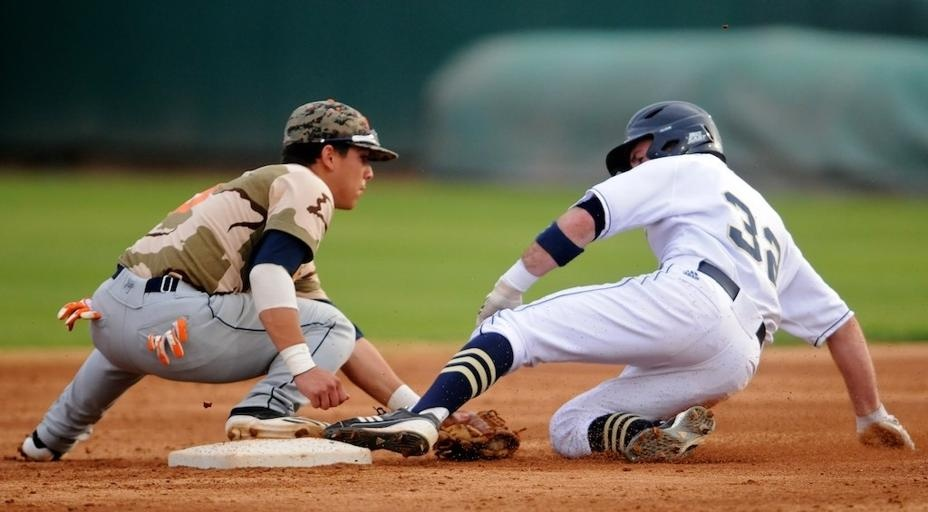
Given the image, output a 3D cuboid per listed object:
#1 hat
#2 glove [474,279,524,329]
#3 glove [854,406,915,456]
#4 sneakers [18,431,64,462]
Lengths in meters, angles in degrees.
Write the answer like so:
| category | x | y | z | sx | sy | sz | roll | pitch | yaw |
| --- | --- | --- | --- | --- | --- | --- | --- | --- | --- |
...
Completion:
| category | x | y | z | sx | sy | sz | roll | pitch | yaw |
| --- | --- | --- | --- | --- | --- | --- | --- | --- | --- |
| hat | -1.500 | -1.485 | 15.024 | 1.052 | 0.474 | 0.769 | 3 | 1 | -3 |
| glove | 0.417 | 0.534 | 14.935 | 0.384 | 0.586 | 0.426 | 0 | 1 | -22 |
| glove | 4.952 | 2.072 | 15.098 | 0.592 | 0.640 | 0.405 | 0 | -1 | 8 |
| sneakers | -5.012 | 2.266 | 15.165 | 0.537 | 0.218 | 0.301 | 8 | 5 | 44 |
